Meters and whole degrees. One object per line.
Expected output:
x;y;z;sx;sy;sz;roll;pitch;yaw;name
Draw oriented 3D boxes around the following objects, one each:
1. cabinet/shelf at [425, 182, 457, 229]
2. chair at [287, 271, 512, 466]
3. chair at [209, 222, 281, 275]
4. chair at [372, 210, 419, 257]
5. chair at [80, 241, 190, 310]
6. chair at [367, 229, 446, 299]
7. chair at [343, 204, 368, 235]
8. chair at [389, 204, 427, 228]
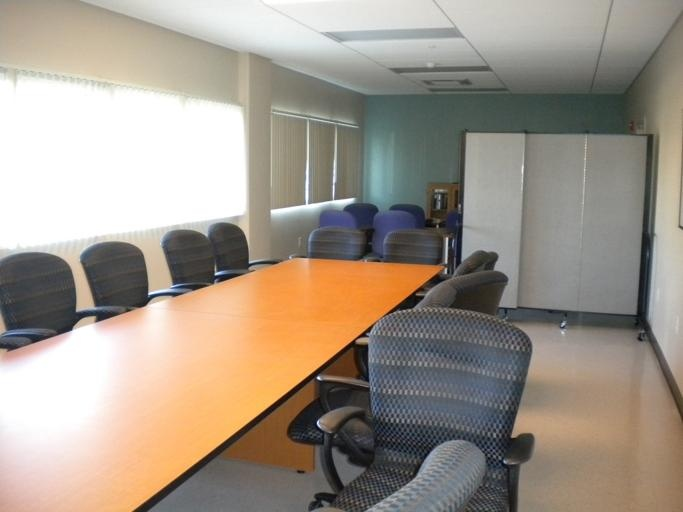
2.070;-1.065;10.796;0.486;0.894;0.267;3;-1;26;cabinet/shelf
0.447;0.514;3.009;1.071;1.631;1.055;3;2;23;chair
-1.080;-0.088;5.382;0.517;0.837;0.593;2;8;26;chair
0.765;-0.305;7.779;0.686;0.749;0.876;4;-23;3;chair
-1.673;0.106;4.143;0.553;0.900;0.577;0;4;34;chair
0.709;0.043;5.534;0.592;0.736;0.595;1;1;20;chair
0.300;-0.742;9.577;0.450;0.631;0.518;-1;1;0;chair
1.271;-0.806;9.365;0.534;0.492;0.507;4;7;41;chair
